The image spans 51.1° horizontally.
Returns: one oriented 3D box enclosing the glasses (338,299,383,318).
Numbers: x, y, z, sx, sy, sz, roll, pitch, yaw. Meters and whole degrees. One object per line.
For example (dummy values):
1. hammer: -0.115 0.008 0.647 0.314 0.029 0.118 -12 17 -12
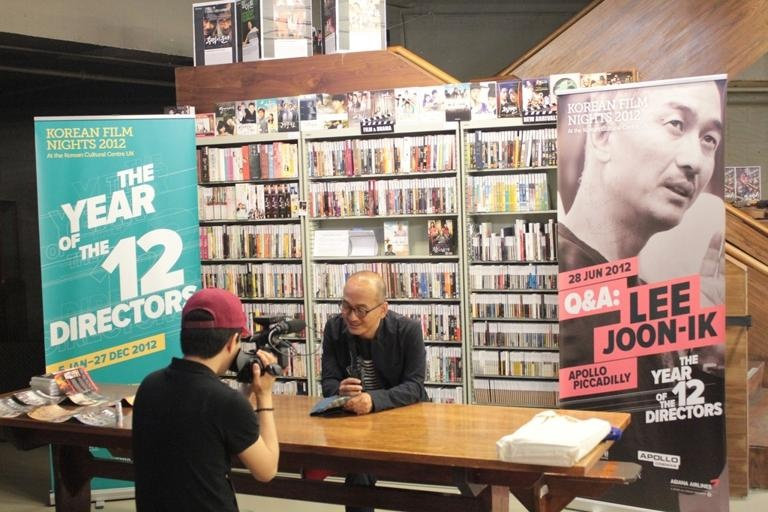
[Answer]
1. glasses: -0.171 0.428 6.411 0.319 0.135 0.102 1 3 2
